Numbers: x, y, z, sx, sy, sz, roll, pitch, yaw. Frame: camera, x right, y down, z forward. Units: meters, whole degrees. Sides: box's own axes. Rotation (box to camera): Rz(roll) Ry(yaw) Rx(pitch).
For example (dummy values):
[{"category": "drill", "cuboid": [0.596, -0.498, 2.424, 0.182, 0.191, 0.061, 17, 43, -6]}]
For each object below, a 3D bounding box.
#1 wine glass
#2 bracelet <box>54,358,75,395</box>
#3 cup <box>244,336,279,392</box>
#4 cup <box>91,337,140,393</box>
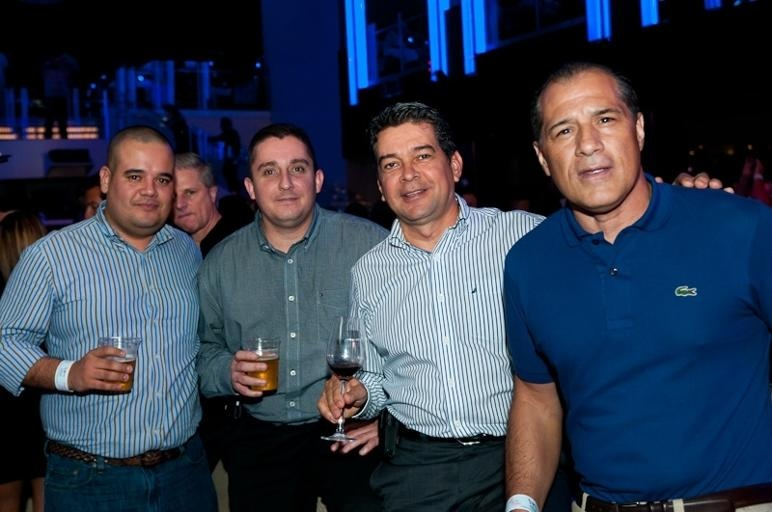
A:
[{"category": "wine glass", "cuboid": [-0.264, 0.802, 4.016, 0.248, 0.870, 0.342, -2, 9, -3]}, {"category": "bracelet", "cuboid": [-1.904, 0.713, 3.874, 0.065, 0.162, 0.137, 12, -26, -11]}, {"category": "cup", "cuboid": [-0.763, 0.706, 4.069, 0.213, 0.379, 0.179, -6, 10, -26]}, {"category": "cup", "cuboid": [-1.605, 0.651, 3.908, 0.238, 0.327, 0.172, -4, 9, -13]}]
